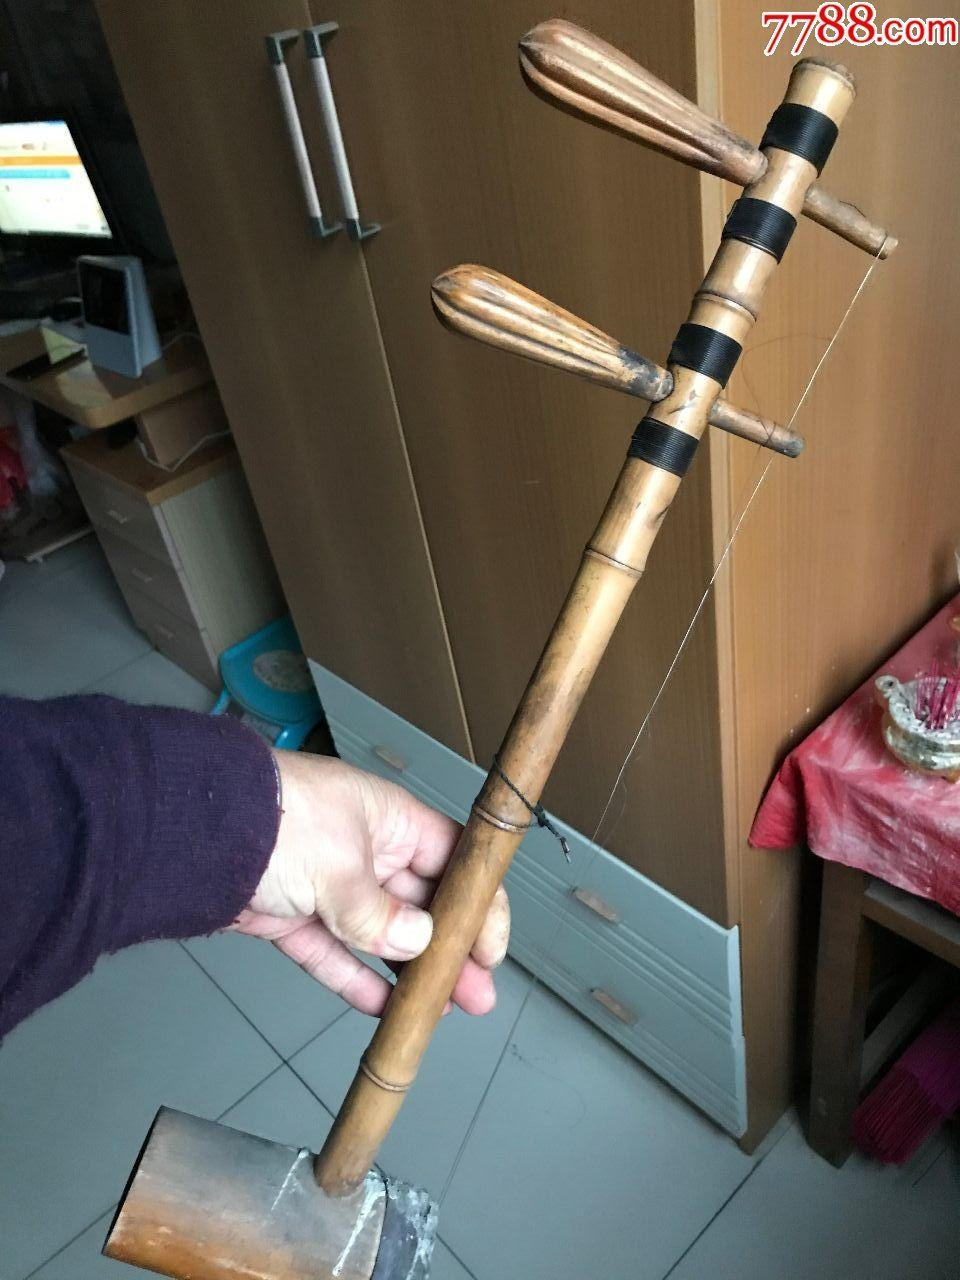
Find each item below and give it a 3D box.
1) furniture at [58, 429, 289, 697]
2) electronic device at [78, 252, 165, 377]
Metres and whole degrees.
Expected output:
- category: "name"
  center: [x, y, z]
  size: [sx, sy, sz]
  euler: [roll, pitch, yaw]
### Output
- category: "furniture"
  center: [-0.611, -0.174, 2.322]
  size: [0.368, 0.418, 0.350]
  euler: [-20, 29, -9]
- category: "electronic device"
  center: [-0.708, -0.640, 2.086]
  size: [0.157, 0.199, 0.109]
  euler: [4, 26, -4]
